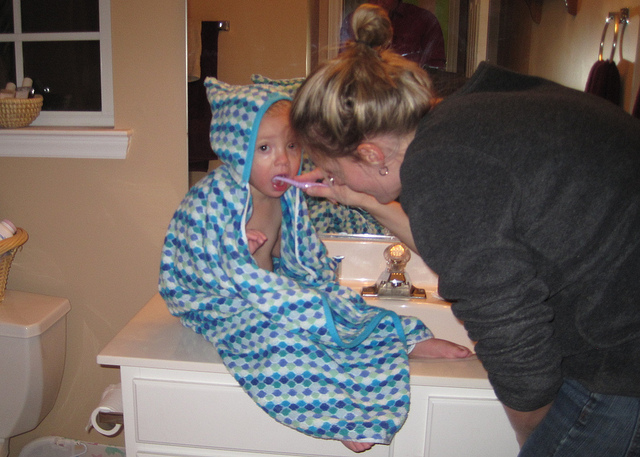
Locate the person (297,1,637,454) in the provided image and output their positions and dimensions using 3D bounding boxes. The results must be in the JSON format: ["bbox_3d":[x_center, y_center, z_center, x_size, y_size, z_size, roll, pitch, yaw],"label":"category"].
[{"bbox_3d":[0.313,0.025,1.156,0.715,0.935,0.285,8,14,24],"label":"person"}]

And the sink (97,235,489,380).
[{"bbox_3d":[-0.047,0.191,1.542,0.953,0.262,0.485,3,13,2],"label":"sink"}]

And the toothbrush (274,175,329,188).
[{"bbox_3d":[-0.052,-0.122,1.452,0.106,0.016,0.015,11,9,9],"label":"toothbrush"}]

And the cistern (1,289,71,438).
[{"bbox_3d":[-0.968,0.456,1.838,0.212,0.436,0.226,4,13,6],"label":"cistern"}]
